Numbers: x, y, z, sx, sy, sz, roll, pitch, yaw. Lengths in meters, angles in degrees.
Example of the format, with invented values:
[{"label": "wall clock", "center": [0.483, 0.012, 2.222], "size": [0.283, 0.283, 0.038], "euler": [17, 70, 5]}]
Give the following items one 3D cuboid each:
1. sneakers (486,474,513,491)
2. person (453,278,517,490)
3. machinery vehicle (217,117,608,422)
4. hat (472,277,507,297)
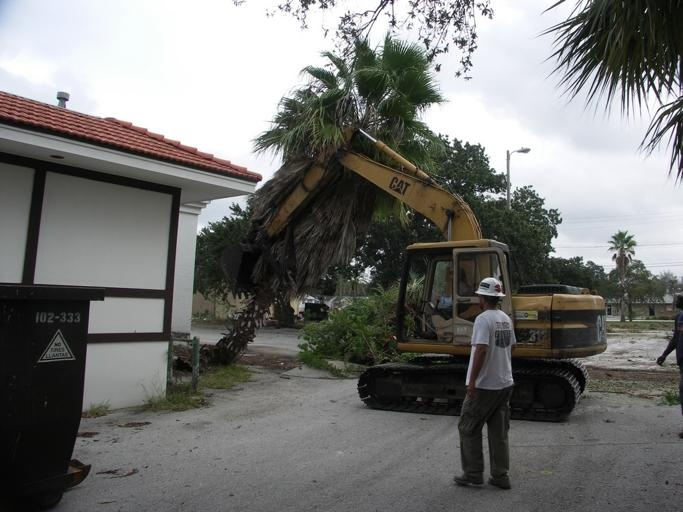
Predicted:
[{"label": "sneakers", "center": [1.760, 2.494, 5.421], "size": [0.096, 0.130, 0.288], "euler": [3, -5, -30]}, {"label": "person", "center": [1.636, 1.586, 5.531], "size": [0.722, 1.932, 0.361], "euler": [0, -2, 0]}, {"label": "machinery vehicle", "center": [1.198, 0.208, 10.369], "size": [6.925, 5.725, 2.830], "euler": [0, -10, 15]}, {"label": "hat", "center": [1.720, 0.396, 5.852], "size": [0.330, 0.247, 0.421], "euler": [5, -10, -18]}]
